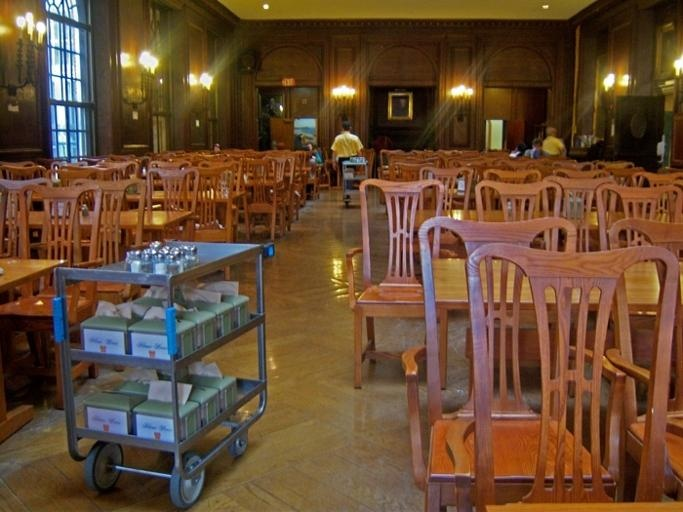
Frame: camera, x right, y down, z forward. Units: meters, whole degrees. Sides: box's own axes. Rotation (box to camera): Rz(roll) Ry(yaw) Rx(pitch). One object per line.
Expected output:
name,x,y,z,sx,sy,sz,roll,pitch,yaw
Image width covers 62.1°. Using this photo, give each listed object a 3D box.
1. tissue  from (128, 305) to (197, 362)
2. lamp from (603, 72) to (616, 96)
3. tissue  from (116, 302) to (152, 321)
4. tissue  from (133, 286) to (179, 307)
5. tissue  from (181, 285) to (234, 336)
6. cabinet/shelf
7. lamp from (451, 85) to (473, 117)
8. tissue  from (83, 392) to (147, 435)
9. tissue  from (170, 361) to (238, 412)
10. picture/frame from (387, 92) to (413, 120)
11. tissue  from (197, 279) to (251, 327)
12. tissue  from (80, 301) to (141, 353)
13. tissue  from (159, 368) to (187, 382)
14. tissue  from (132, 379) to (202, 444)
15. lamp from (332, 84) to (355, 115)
tissue ,-0.723,0.309,2.312,0.232,0.149,0.188,2,7,6
lamp,6.561,-4.031,13.890,0.170,0.427,0.759,3,10,15
tissue ,-0.873,0.208,2.417,0.086,0.028,0.088,10,26,-2
tissue ,-0.796,0.170,2.416,0.120,0.046,0.147,3,11,0
tissue ,-0.605,0.254,2.574,0.152,0.289,0.261,4,-11,-21
cabinet/shelf,5.930,-2.113,11.592,1.064,1.707,1.136,3,-3,37
lamp,3.428,-4.226,16.128,0.692,1.076,0.246,0,16,4
tissue ,-0.941,0.631,2.406,0.216,0.132,0.171,6,3,11
tissue ,-0.589,0.552,2.585,0.185,0.185,0.199,0,-2,7
picture/frame,2.027,-4.874,19.273,0.788,0.935,0.094,0,4,-2
tissue ,-0.554,0.237,2.643,0.204,0.201,0.178,0,23,22
tissue ,-0.951,0.279,2.368,0.183,0.195,0.189,1,1,3
tissue ,-0.707,0.478,2.372,0.092,0.046,0.069,2,10,0
tissue ,-0.721,0.611,2.335,0.210,0.214,0.166,2,1,4
lamp,0.094,-4.283,16.405,0.628,0.766,0.665,0,5,0
